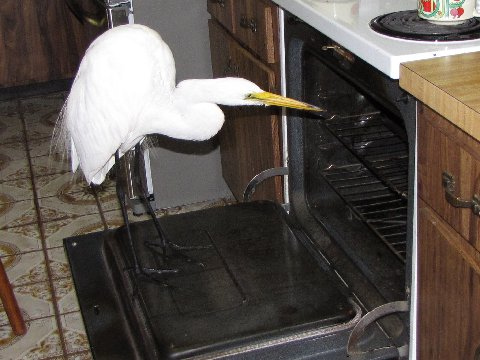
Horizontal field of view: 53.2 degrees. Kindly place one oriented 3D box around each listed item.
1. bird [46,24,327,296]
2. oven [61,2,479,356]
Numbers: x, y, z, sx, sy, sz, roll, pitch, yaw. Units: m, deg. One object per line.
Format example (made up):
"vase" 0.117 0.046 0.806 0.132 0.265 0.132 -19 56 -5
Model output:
"bird" -0.207 -0.058 1.431 0.583 0.744 0.487 -10 24 -11
"oven" 0.149 0.029 1.145 0.997 0.598 0.663 -16 27 -9
